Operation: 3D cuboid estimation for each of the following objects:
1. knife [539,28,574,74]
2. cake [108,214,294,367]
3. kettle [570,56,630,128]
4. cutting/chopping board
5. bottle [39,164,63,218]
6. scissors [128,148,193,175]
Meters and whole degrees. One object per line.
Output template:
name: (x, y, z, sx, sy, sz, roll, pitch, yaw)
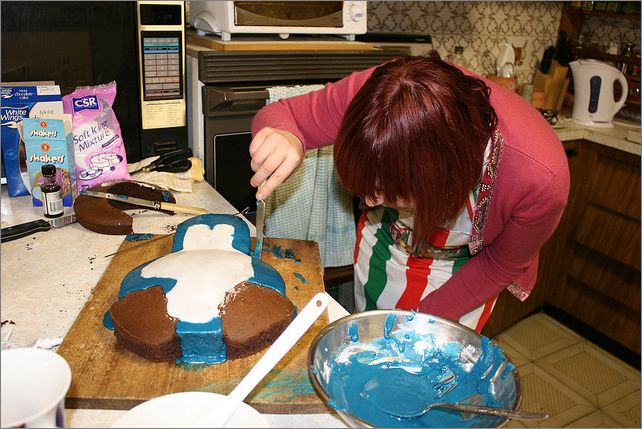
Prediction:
knife: (1.490, -1.012, 2.838, 0.217, 0.348, 0.090, -12, 7, -2)
cake: (-0.307, 0.139, 1.163, 0.321, 0.095, 0.368, 2, 32, -5)
kettle: (1.415, -0.661, 2.404, 0.374, 0.416, 0.300, 8, 21, 24)
cutting/chopping board: (-0.327, 0.276, 1.020, 0.412, 0.024, 0.470, 1, 17, 0)
bottle: (-0.885, -0.078, 1.446, 0.063, 0.176, 0.088, -14, 29, -32)
scissors: (-0.594, -0.196, 1.678, 0.136, 0.064, 0.229, 21, 31, 34)
